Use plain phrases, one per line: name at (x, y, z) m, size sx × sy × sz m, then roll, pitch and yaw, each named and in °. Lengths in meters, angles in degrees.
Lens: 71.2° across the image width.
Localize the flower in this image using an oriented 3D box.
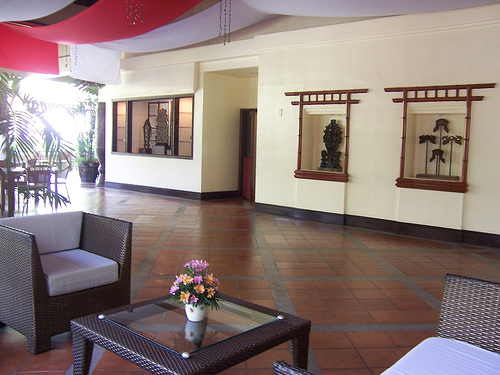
flower at (-0.297, 0.548, 2.153) m, size 0.327 × 0.291 × 0.314 m, roll -1°, pitch 2°, yaw 15°

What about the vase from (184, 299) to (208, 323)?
vase at (-0.325, 0.704, 2.027) m, size 0.124 × 0.082 × 0.124 m, roll 1°, pitch -2°, yaw -6°

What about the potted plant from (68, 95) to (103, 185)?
potted plant at (-5.960, -1.741, 12.773) m, size 0.899 × 3.174 × 1.359 m, roll -2°, pitch 8°, yaw -27°
